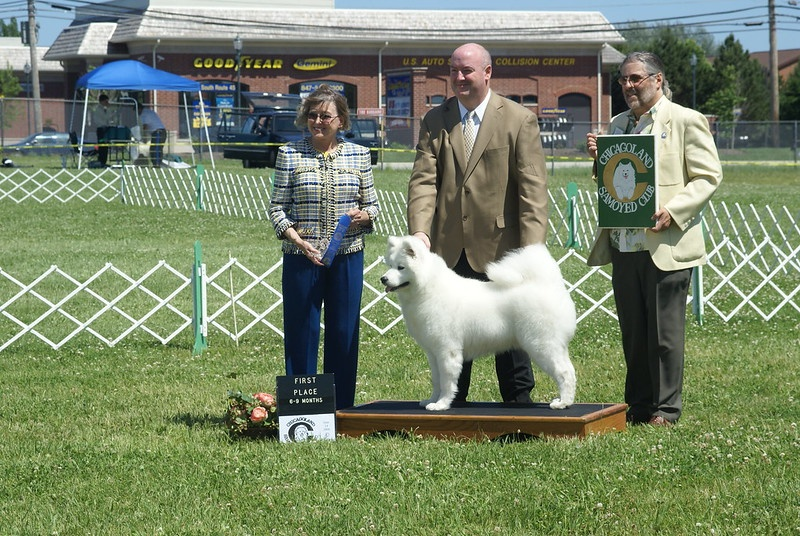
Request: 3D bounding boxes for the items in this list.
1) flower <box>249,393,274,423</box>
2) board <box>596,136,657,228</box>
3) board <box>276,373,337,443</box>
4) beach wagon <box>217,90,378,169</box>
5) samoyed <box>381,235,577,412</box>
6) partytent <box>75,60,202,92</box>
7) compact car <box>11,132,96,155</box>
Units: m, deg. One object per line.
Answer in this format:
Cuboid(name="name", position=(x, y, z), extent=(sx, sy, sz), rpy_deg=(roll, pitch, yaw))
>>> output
Cuboid(name="flower", position=(-1.842, 1.845, 16.240), extent=(0.242, 0.387, 0.189), rpy_deg=(34, -25, -1))
Cuboid(name="board", position=(3.033, -1.149, 16.110), extent=(1.033, 1.641, 0.153), rpy_deg=(-1, 0, 13))
Cuboid(name="board", position=(-1.230, 1.856, 16.038), extent=(0.751, 1.006, 0.066), rpy_deg=(-1, 1, 1))
Cuboid(name="beach wagon", position=(-3.763, -3.751, 35.317), extent=(1.717, 1.405, 3.087), rpy_deg=(-8, 13, -44))
Cuboid(name="samoyed", position=(1.210, 0.725, 17.059), extent=(3.358, 3.202, 1.331), rpy_deg=(1, -4, 6))
Cuboid(name="partytent", position=(-6.865, -5.006, 31.727), extent=(2.989, 0.782, 1.167), rpy_deg=(-5, 6, -39))
Cuboid(name="compact car", position=(-9.911, -3.547, 34.960), extent=(2.044, 0.765, 1.022), rpy_deg=(1, 3, -6))
